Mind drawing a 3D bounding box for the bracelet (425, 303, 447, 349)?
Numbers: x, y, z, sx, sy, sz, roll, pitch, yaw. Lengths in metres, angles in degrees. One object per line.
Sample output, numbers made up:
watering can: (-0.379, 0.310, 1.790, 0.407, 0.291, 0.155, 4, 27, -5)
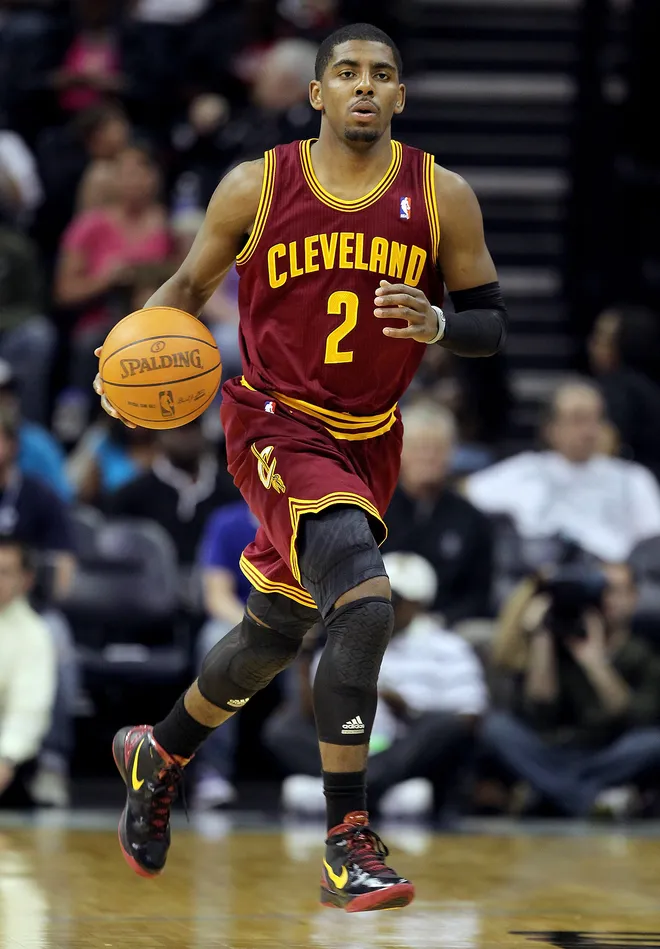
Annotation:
bracelet: (0.211, -0.293, 2.131, 0.028, 0.062, 0.055, 8, 3, -31)

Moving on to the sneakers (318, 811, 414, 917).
sneakers: (0.063, 0.696, 1.984, 0.112, 0.293, 0.159, 3, 73, -19)

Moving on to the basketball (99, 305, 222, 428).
basketball: (-0.373, -0.232, 2.502, 0.279, 0.269, 0.256, 5, 22, 26)
